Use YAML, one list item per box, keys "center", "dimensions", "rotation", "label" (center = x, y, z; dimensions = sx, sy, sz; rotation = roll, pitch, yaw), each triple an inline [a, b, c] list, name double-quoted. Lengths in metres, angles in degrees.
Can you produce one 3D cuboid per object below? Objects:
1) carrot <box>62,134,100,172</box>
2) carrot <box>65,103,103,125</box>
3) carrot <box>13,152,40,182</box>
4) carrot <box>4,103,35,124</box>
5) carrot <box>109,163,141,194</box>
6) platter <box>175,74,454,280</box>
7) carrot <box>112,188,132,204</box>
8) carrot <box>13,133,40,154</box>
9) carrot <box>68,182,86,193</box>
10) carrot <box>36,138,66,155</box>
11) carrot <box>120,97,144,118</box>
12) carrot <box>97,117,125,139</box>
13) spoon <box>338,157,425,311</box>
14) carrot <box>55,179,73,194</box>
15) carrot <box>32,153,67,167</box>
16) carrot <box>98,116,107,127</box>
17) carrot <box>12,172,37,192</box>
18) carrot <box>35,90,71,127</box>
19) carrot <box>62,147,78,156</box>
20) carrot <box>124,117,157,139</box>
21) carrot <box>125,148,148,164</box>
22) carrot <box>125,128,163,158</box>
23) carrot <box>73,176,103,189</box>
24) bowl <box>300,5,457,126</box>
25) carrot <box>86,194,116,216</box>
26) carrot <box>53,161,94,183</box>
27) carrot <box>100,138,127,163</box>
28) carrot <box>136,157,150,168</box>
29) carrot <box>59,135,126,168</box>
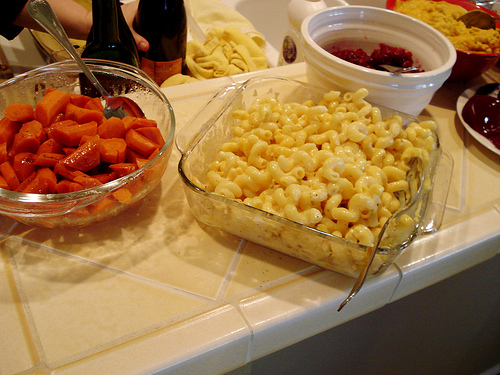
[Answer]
- center: [-0.266, -0.051, 0.668]
  dimensions: [0.042, 0.065, 0.019]
  rotation: [-29, 62, -19]
  label: "carrot"
- center: [-0.290, -0.127, 0.722]
  dimensions: [0.048, 0.017, 0.038]
  rotation: [-6, 44, -26]
  label: "carrot"
- center: [-0.365, -0.030, 0.692]
  dimensions: [0.044, 0.042, 0.042]
  rotation: [7, 19, 34]
  label: "carrot"
- center: [-0.393, -0.128, 0.712]
  dimensions: [0.041, 0.013, 0.031]
  rotation: [-1, 75, -13]
  label: "carrot"
- center: [-0.200, -0.013, 0.673]
  dimensions: [0.041, 0.023, 0.044]
  rotation: [-9, 73, -21]
  label: "carrot"
- center: [0.081, -0.048, 0.824]
  dimensions: [0.536, 0.378, 0.403]
  rotation: [-12, 25, -26]
  label: "platter"
- center: [-0.203, 0.016, 0.670]
  dimensions: [0.030, 0.031, 0.010]
  rotation: [-22, 51, -28]
  label: "carrot"
- center: [-0.368, -0.073, 0.690]
  dimensions: [0.028, 0.026, 0.016]
  rotation: [-9, 41, -13]
  label: "carrot"
- center: [-0.272, 0.000, 0.654]
  dimensions: [0.023, 0.017, 0.013]
  rotation: [5, 28, -8]
  label: "carrot"
- center: [-0.329, -0.068, 0.694]
  dimensions: [0.047, 0.033, 0.026]
  rotation: [-3, 76, -12]
  label: "carrot"
- center: [-0.225, -0.156, 0.815]
  dimensions: [0.016, 0.038, 0.042]
  rotation: [-43, 98, 2]
  label: "carrot"
- center: [-0.238, -0.099, 0.718]
  dimensions: [0.046, 0.032, 0.029]
  rotation: [-10, 47, -19]
  label: "carrot"
- center: [0.209, 0.068, 0.679]
  dimensions: [0.055, 0.042, 0.309]
  rotation: [38, 77, -4]
  label: "spoon"
- center: [-0.293, -0.001, 0.660]
  dimensions: [0.013, 0.018, 0.010]
  rotation: [29, 28, -9]
  label: "carrot"
- center: [-0.325, -0.044, 0.675]
  dimensions: [0.039, 0.010, 0.022]
  rotation: [5, 60, 0]
  label: "carrot"
- center: [-0.261, -0.118, 0.740]
  dimensions: [0.004, 0.016, 0.016]
  rotation: [36, 76, 13]
  label: "carrot"
- center: [-0.357, -0.008, 0.660]
  dimensions: [0.027, 0.028, 0.009]
  rotation: [-43, 107, -11]
  label: "carrot"
- center: [-0.332, -0.145, 0.738]
  dimensions: [0.065, 0.055, 0.043]
  rotation: [10, 32, 9]
  label: "carrot"
- center: [-0.298, -0.060, 0.692]
  dimensions: [0.016, 0.009, 0.016]
  rotation: [-20, 68, 1]
  label: "carrot"
- center: [-0.195, -0.107, 0.745]
  dimensions: [0.048, 0.030, 0.018]
  rotation: [0, 30, -6]
  label: "carrot"
- center: [-0.190, -0.054, 0.729]
  dimensions: [0.045, 0.024, 0.032]
  rotation: [17, 5, 1]
  label: "carrot"
- center: [-0.187, -0.075, 0.715]
  dimensions: [0.068, 0.024, 0.039]
  rotation: [33, 38, -2]
  label: "carrot"
- center: [-0.257, -0.009, 0.661]
  dimensions: [0.031, 0.008, 0.016]
  rotation: [18, 39, -23]
  label: "carrot"
- center: [0.269, -0.256, 0.891]
  dimensions: [0.262, 0.149, 0.273]
  rotation: [0, 48, 0]
  label: "bowl"
- center: [-0.233, 0.028, 0.662]
  dimensions: [0.031, 0.035, 0.013]
  rotation: [-36, 96, -31]
  label: "carrot"
- center: [-0.285, -0.029, 0.670]
  dimensions: [0.030, 0.016, 0.047]
  rotation: [-41, 95, 1]
  label: "carrot"
- center: [-0.229, -0.063, 0.706]
  dimensions: [0.039, 0.026, 0.046]
  rotation: [0, 44, -9]
  label: "carrot"
- center: [-0.179, -0.042, 0.701]
  dimensions: [0.016, 0.005, 0.023]
  rotation: [43, 42, 16]
  label: "carrot"
- center: [-0.259, -0.058, 0.684]
  dimensions: [0.048, 0.026, 0.101]
  rotation: [26, 42, 12]
  label: "carrot"
